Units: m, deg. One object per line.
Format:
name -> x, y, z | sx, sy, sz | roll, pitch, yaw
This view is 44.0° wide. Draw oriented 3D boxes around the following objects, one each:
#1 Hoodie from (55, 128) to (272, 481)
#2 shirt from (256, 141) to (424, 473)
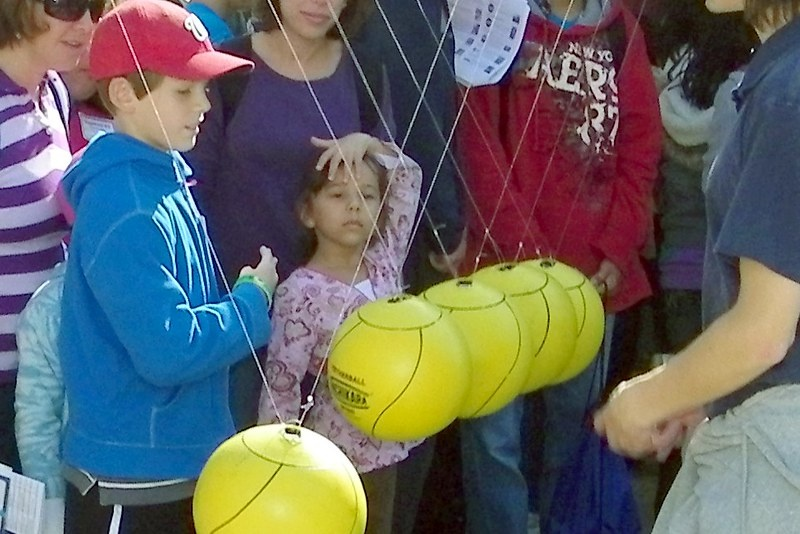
Hoodie -> -0.541, 0.091, 2.253 | 0.423, 0.756, 0.511 | 0, 9, -13
shirt -> -0.123, 0.088, 2.543 | 0.378, 0.826, 0.238 | -1, 13, 2
